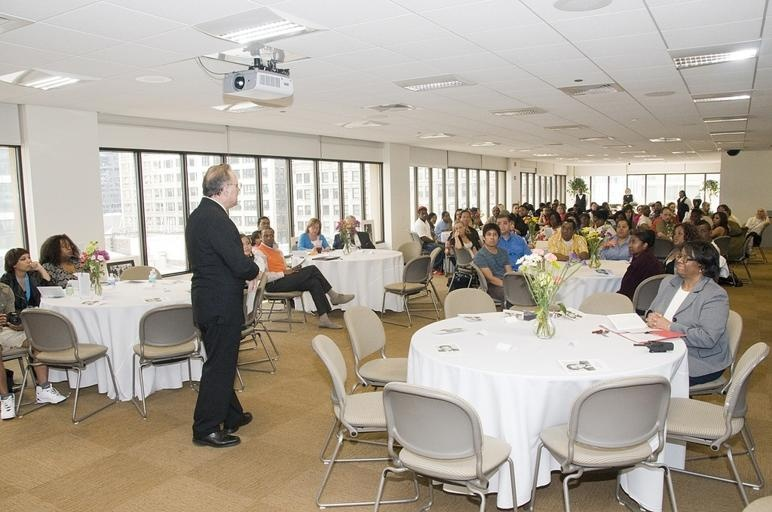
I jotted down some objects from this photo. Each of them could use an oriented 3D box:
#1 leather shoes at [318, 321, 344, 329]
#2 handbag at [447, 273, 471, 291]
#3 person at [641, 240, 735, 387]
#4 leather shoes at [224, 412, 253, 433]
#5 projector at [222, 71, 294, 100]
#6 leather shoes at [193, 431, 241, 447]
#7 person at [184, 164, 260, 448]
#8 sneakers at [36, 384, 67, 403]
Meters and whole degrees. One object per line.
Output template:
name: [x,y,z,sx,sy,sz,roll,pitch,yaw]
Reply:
leather shoes: [-0.878,1.070,8.144,0.400,0.169,0.134,-1,-3,13]
handbag: [1.261,0.419,9.016,0.433,0.348,0.650,3,-9,-4]
person: [2.719,0.491,4.630,0.682,1.233,0.662,8,16,32]
leather shoes: [-1.475,1.645,5.177,0.099,0.117,0.294,5,9,19]
projector: [-1.357,-1.895,5.796,0.429,0.159,0.436,3,2,42]
leather shoes: [-1.604,1.727,4.943,0.326,0.106,0.191,0,-2,2]
person: [-1.577,0.441,4.991,0.722,2.549,0.800,1,3,-17]
sneakers: [-3.631,1.516,5.724,0.398,0.195,0.144,1,4,-6]
